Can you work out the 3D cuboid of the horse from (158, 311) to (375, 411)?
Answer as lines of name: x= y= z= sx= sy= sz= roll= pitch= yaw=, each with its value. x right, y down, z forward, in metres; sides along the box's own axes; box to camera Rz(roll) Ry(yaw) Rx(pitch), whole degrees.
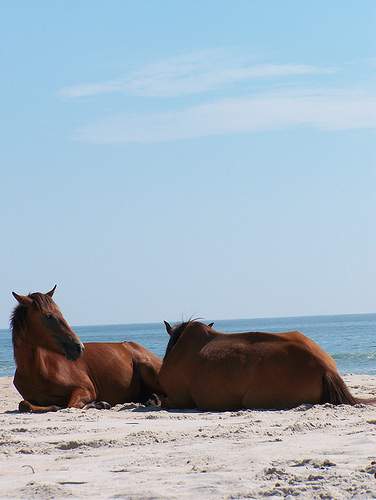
horse: x=0.648 y=1.150 z=11.385 sx=0.823 sy=0.839 sz=2.197 roll=-4 pitch=-1 yaw=-31

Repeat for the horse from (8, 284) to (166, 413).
horse: x=-1.053 y=1.127 z=12.945 sx=1.287 sy=1.225 sz=2.375 roll=-5 pitch=-1 yaw=8
